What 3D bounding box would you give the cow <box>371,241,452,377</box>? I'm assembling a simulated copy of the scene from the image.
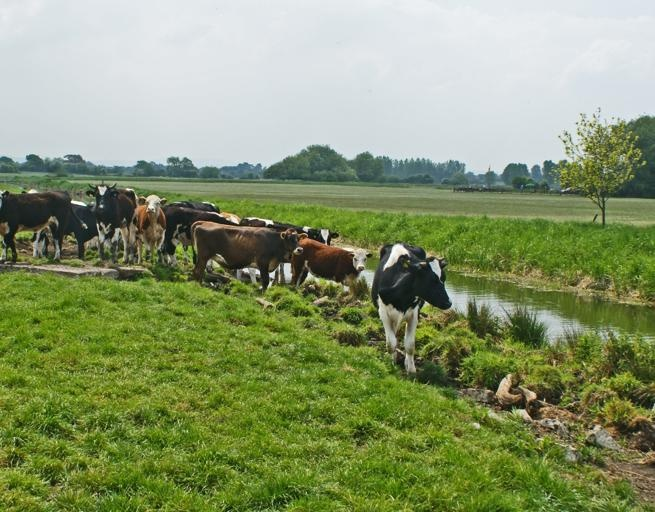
[{"bbox_3d":[1.962,1.215,18.291,1.469,2.955,2.511,0,4,-15],"label":"cow"}]
